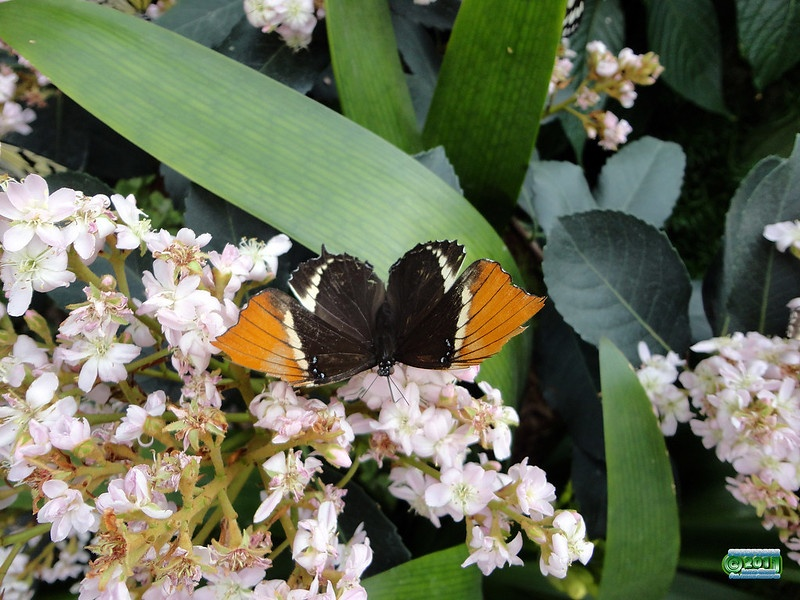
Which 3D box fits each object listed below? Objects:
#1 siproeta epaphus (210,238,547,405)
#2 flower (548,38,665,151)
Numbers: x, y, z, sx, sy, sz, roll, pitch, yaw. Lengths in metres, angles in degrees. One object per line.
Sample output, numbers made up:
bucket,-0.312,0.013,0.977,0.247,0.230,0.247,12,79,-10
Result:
siproeta epaphus,-0.028,0.015,1.357,0.512,0.146,0.288,-6,58,4
flower,0.409,-0.450,1.705,0.224,0.239,0.081,-28,27,16
